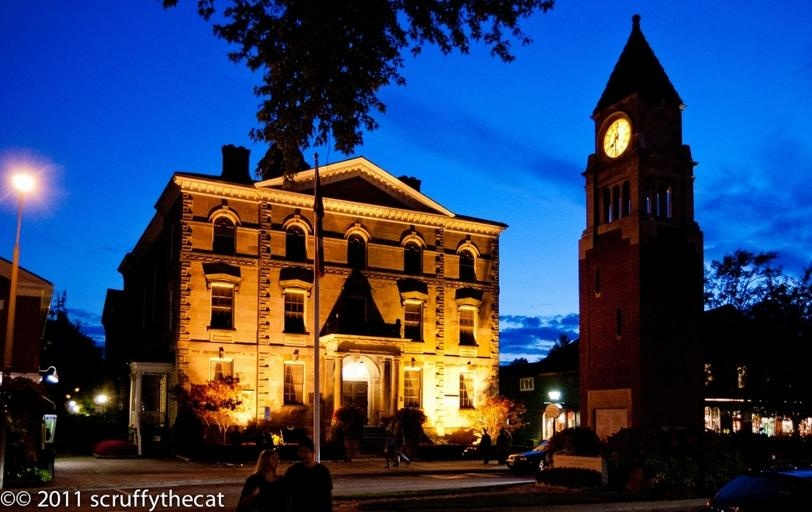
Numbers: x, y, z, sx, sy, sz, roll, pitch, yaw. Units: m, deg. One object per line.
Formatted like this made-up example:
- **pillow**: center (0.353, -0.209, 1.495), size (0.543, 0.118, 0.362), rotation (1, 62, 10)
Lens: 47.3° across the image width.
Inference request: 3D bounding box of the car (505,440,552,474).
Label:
- **car**: center (6.611, 10.803, 49.795), size (3.545, 1.138, 1.638), rotation (10, -16, -29)
